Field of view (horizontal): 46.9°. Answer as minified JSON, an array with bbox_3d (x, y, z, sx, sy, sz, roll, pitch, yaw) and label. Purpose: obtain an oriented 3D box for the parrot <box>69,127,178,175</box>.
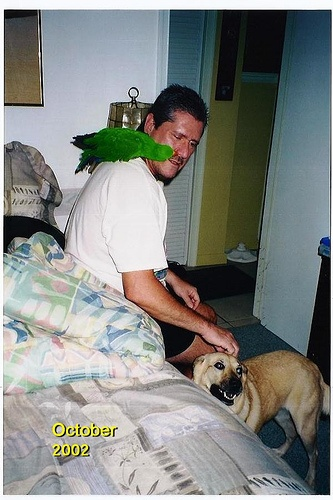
[{"bbox_3d":[-0.154,-0.314,1.239,0.343,0.148,0.115,21,-4,21],"label":"parrot"}]
